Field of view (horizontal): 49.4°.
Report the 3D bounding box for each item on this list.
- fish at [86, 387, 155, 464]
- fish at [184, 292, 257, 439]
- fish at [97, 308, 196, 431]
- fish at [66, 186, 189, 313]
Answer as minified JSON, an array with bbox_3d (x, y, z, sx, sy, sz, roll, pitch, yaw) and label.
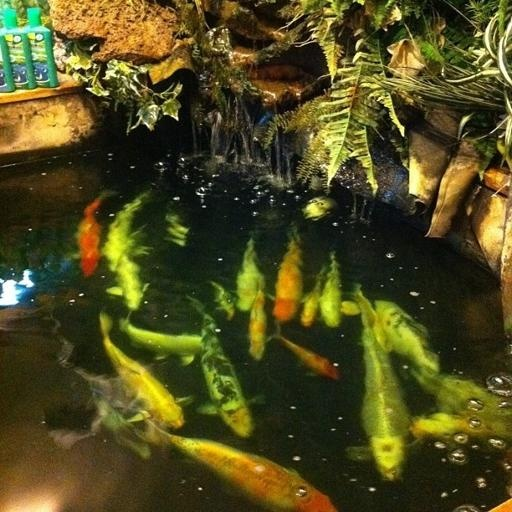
[{"bbox_3d":[-0.383,0.469,1.551,0.191,0.067,0.109,34,44,28],"label":"fish"},{"bbox_3d":[-0.121,0.367,1.726,0.112,0.100,0.383,-18,46,-16],"label":"fish"},{"bbox_3d":[-0.353,0.356,1.747,0.129,0.159,0.438,-38,59,-25],"label":"fish"},{"bbox_3d":[-0.560,-0.030,2.245,0.422,0.120,0.462,5,35,-17],"label":"fish"}]
